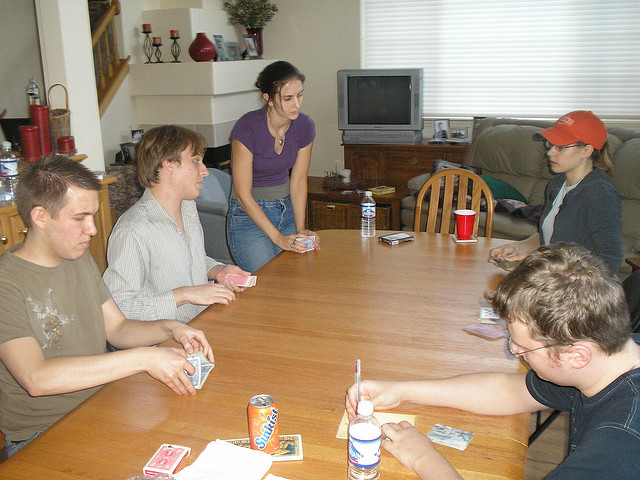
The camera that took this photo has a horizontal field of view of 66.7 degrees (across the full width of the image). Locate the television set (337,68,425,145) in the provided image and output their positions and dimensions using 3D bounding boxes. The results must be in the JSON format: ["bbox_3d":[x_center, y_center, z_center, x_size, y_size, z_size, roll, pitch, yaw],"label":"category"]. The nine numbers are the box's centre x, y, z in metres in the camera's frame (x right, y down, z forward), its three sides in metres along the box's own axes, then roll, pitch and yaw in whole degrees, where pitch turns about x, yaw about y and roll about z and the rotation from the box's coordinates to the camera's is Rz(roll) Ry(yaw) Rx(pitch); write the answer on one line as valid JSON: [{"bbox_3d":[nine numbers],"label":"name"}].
[{"bbox_3d":[0.743,-1.525,5.824,1.138,0.939,0.829,1,18,7],"label":"television set"}]

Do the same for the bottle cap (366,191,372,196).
[{"bbox_3d":[0.284,-0.258,2.792,0.043,0.031,0.042,-10,15,-39],"label":"bottle cap"}]

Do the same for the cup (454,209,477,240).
[{"bbox_3d":[0.807,-0.079,2.696,0.122,0.139,0.132,1,3,0],"label":"cup"}]

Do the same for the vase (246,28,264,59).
[{"bbox_3d":[-0.785,-2.383,5.926,0.172,0.330,0.164,-4,13,-8],"label":"vase"}]

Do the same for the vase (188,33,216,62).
[{"bbox_3d":[-1.242,-2.019,5.137,0.286,0.272,0.289,5,19,14],"label":"vase"}]

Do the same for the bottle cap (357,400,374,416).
[{"bbox_3d":[0.117,0.422,1.243,0.039,0.038,0.063,-1,13,4],"label":"bottle cap"}]

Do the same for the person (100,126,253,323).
[{"bbox_3d":[-0.614,0.019,2.239,0.577,1.057,0.692,8,21,9],"label":"person"}]
